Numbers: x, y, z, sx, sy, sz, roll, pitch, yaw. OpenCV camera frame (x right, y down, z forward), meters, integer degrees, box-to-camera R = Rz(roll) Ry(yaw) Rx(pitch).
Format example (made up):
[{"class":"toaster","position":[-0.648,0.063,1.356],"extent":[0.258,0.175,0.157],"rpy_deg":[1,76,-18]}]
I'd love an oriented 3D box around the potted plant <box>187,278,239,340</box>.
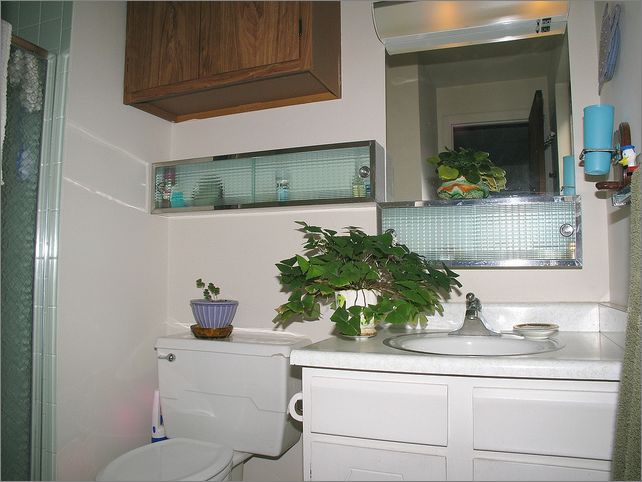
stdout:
[{"class":"potted plant","position":[-0.506,0.333,2.443],"extent":[0.270,0.296,0.251],"rpy_deg":[1,-3,3]}]

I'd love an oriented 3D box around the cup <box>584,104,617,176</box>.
[{"class":"cup","position":[1.062,-0.386,1.881],"extent":[0.093,0.256,0.047],"rpy_deg":[0,-1,27]}]

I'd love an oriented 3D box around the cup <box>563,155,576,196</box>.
[{"class":"cup","position":[1.085,-0.288,2.145],"extent":[0.052,0.170,0.023],"rpy_deg":[1,-1,8]}]

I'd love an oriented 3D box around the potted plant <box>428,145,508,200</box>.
[{"class":"potted plant","position":[0.696,-0.293,2.308],"extent":[0.284,0.213,0.335],"rpy_deg":[1,0,-18]}]

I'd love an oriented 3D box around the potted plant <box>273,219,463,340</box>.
[{"class":"potted plant","position":[0.157,0.155,2.016],"extent":[0.602,0.241,0.587],"rpy_deg":[2,2,-41]}]

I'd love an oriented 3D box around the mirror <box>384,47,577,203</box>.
[{"class":"mirror","position":[0.760,-0.517,2.242],"extent":[0.739,0.656,0.242],"rpy_deg":[0,2,10]}]

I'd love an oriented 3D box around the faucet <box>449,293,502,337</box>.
[{"class":"faucet","position":[0.670,0.323,2.122],"extent":[0.170,0.145,0.067],"rpy_deg":[-1,-3,13]}]

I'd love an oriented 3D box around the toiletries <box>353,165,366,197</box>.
[{"class":"toiletries","position":[0.172,-0.266,2.265],"extent":[0.026,0.120,0.066],"rpy_deg":[1,-1,-45]}]
